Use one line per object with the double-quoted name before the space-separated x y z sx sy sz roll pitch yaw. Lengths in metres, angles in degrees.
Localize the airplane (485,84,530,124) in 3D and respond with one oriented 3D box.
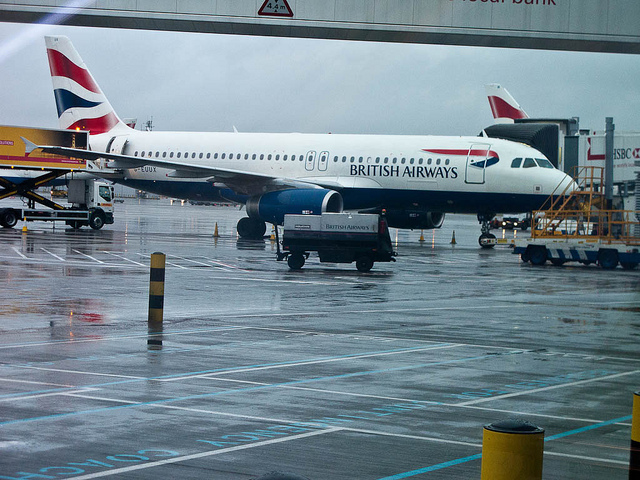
"airplane" 14.389 -10.277 71.214 5.497 3.073 1.009 -7 19 -39
